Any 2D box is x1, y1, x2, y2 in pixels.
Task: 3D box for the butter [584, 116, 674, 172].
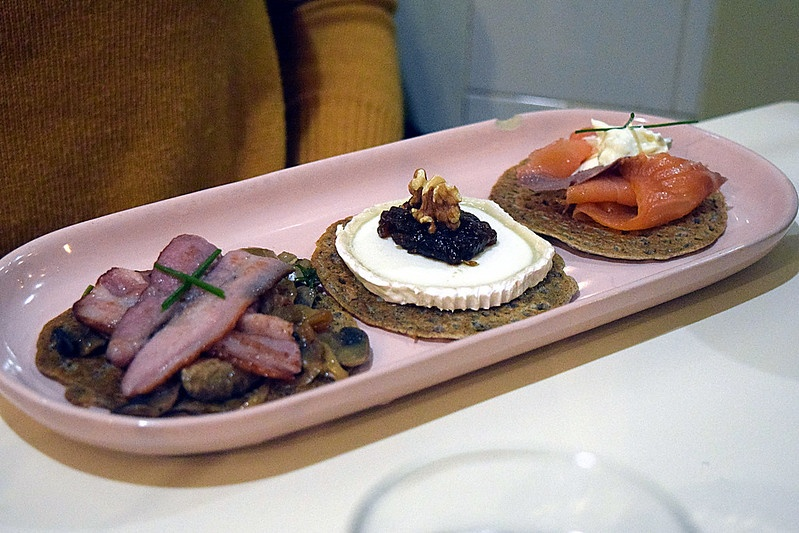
[{"bbox_3d":[1.095,-0.593,3.356,0.311,0.105,0.295,-15,36,-3],"label":"butter"}]
